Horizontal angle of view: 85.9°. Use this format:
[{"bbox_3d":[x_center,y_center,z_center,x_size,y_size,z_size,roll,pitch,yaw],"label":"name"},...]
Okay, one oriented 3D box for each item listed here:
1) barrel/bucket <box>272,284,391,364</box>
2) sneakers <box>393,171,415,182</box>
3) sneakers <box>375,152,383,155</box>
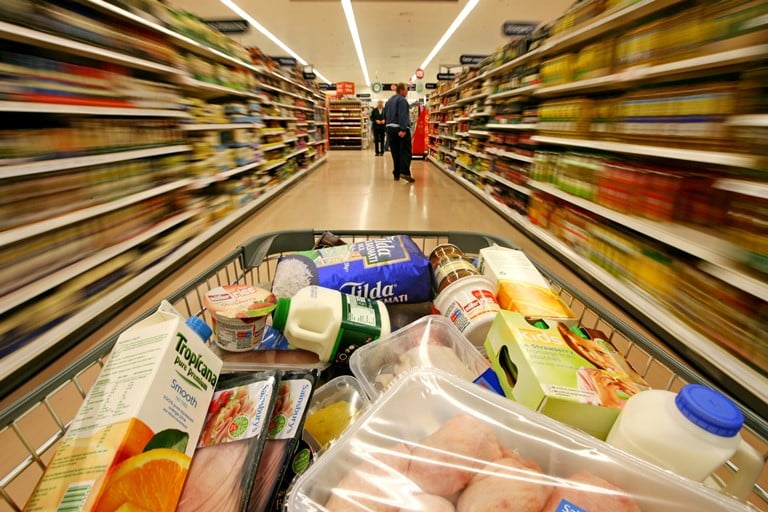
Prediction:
[{"bbox_3d":[-0.205,0.262,1.601,0.425,0.276,0.116,-2,18,-3],"label":"barrel/bucket"},{"bbox_3d":[0.349,-1.454,7.622,0.517,0.202,0.167,8,33,26],"label":"sneakers"},{"bbox_3d":[-0.142,-3.229,13.062,0.137,0.096,0.187,-4,19,-1],"label":"sneakers"}]
